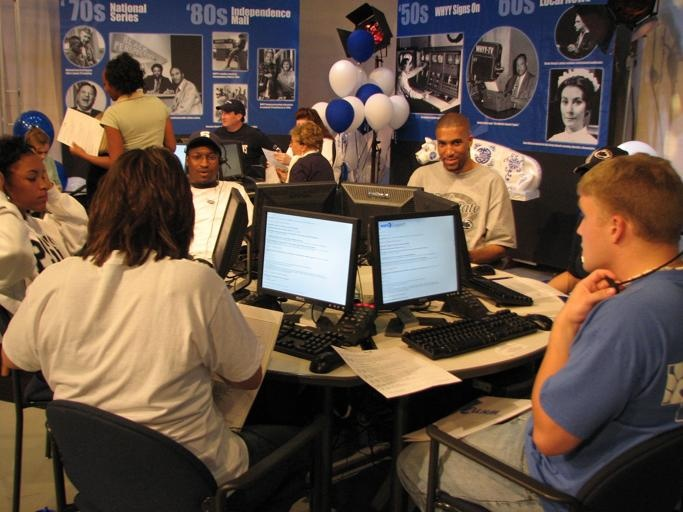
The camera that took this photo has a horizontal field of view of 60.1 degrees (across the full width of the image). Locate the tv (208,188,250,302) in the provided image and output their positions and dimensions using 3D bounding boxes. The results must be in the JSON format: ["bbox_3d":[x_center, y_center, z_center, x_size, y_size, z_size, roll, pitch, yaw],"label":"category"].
[{"bbox_3d":[-0.514,-0.041,2.711,0.153,0.424,0.424,11,27,-22],"label":"tv"}]

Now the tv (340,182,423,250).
[{"bbox_3d":[0.194,-0.257,3.054,0.402,0.290,0.067,7,50,11],"label":"tv"}]

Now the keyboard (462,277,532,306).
[{"bbox_3d":[0.757,0.179,2.806,0.116,0.046,0.317,-7,23,-15],"label":"keyboard"}]

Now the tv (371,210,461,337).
[{"bbox_3d":[0.319,0.069,2.532,0.477,0.543,0.186,-8,7,-32],"label":"tv"}]

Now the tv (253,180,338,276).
[{"bbox_3d":[-0.211,-0.113,2.615,0.424,0.419,0.145,-5,11,-35],"label":"tv"}]

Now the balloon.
[{"bbox_3d":[0.229,-1.930,6.532,1.012,1.157,1.014,0,12,-6],"label":"balloon"}]

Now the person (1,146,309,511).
[{"bbox_3d":[-0.597,0.200,1.809,0.843,1.040,0.346,-1,12,-10],"label":"person"}]

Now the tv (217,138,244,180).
[{"bbox_3d":[-0.987,-0.856,5.354,0.392,0.396,0.278,-1,6,-12],"label":"tv"}]

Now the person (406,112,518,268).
[{"bbox_3d":[0.686,-0.398,3.600,0.750,0.912,0.534,11,29,28],"label":"person"}]

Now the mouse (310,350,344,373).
[{"bbox_3d":[-0.053,0.397,2.193,0.091,0.046,0.131,7,13,27],"label":"mouse"}]

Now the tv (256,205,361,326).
[{"bbox_3d":[-0.143,0.055,2.500,0.476,0.414,0.052,8,6,26],"label":"tv"}]
